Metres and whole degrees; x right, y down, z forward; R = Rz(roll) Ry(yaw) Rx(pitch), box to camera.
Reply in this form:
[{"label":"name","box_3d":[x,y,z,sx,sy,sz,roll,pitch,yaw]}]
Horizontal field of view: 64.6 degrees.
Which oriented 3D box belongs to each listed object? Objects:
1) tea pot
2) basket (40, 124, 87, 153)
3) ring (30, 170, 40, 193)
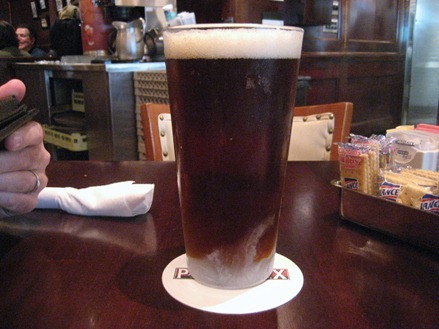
[{"label":"tea pot","box_3d":[-0.768,-1.118,3.108,0.383,0.380,0.228,14,20,39]},{"label":"basket","box_3d":[-1.661,-0.307,3.703,0.509,0.176,0.345,2,-7,36]},{"label":"ring","box_3d":[-0.413,0.039,0.785,0.009,0.040,0.039,-5,-3,-26]}]
